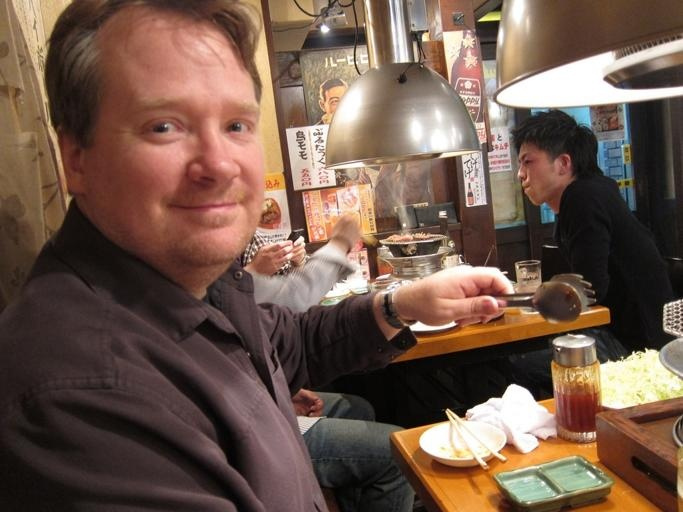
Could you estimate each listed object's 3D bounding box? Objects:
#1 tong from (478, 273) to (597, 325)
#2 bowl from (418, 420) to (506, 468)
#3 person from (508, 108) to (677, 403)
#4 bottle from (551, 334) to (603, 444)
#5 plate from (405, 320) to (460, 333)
[{"bbox_3d":[0.522,0.111,1.331,0.110,0.091,0.216,-13,4,-41],"label":"tong"},{"bbox_3d":[0.345,0.541,1.523,0.248,0.103,0.176,1,7,-11],"label":"bowl"},{"bbox_3d":[1.488,0.056,3.152,0.894,1.767,1.007,5,14,5],"label":"person"},{"bbox_3d":[0.682,0.375,1.521,0.105,0.293,0.152,-1,4,33],"label":"bottle"},{"bbox_3d":[0.439,0.362,2.556,0.229,0.055,0.229,-2,3,-12],"label":"plate"}]
